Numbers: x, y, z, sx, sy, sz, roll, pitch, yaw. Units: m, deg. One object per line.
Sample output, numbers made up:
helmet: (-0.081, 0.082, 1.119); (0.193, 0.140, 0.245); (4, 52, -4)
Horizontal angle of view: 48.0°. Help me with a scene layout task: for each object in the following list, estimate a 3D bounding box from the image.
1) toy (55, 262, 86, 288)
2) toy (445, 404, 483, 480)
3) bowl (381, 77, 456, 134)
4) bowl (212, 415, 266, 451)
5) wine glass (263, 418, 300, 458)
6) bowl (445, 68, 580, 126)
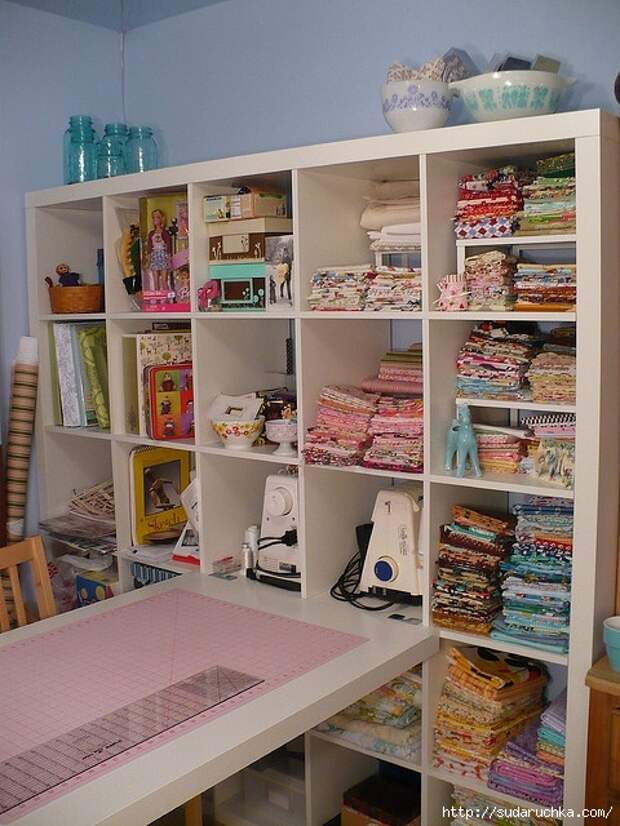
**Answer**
toy: (-0.800, -0.458, 2.310); (0.075, 0.087, 0.157); (13, 11, -20)
toy: (0.321, 0.050, 1.459); (0.072, 0.151, 0.141); (0, 3, 10)
bowl: (0.232, -0.653, 1.499); (0.138, 0.094, 0.140); (-2, 21, 1)
bowl: (-0.173, 0.047, 1.794); (0.102, 0.057, 0.098); (-1, 1, 0)
wine glass: (-0.068, 0.058, 1.738); (0.082, 0.065, 0.086); (-1, -1, -12)
bowl: (0.387, -0.616, 1.347); (0.234, 0.102, 0.115); (0, 3, 14)
